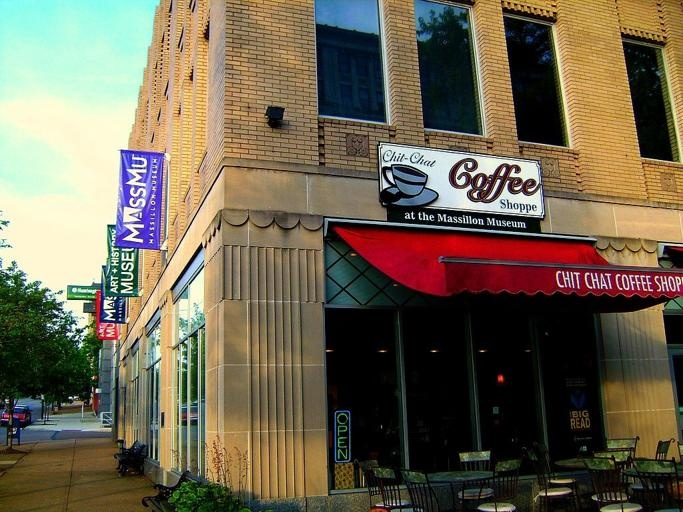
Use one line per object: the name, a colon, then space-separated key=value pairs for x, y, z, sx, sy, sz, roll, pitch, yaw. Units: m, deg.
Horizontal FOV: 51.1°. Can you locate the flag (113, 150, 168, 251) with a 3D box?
flag: x=-5.084 y=-1.463 z=18.057 sx=1.103 sy=2.728 sz=0.729 roll=3 pitch=-14 yaw=-20
